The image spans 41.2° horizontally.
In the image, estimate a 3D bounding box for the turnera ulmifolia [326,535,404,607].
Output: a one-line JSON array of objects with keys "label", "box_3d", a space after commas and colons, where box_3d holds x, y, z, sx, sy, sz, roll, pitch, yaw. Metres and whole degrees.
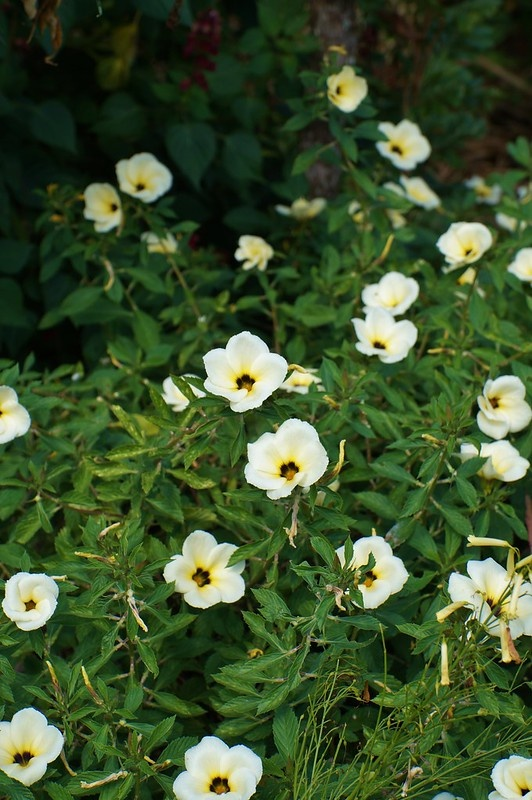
[{"label": "turnera ulmifolia", "box_3d": [0.157, 0.264, 1.073, 0.111, 0.042, 0.109, 40, 66, -3]}]

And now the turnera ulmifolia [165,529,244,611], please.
[{"label": "turnera ulmifolia", "box_3d": [-0.090, 0.248, 1.065, 0.118, 0.103, 0.105, 6, 45, -5]}]
